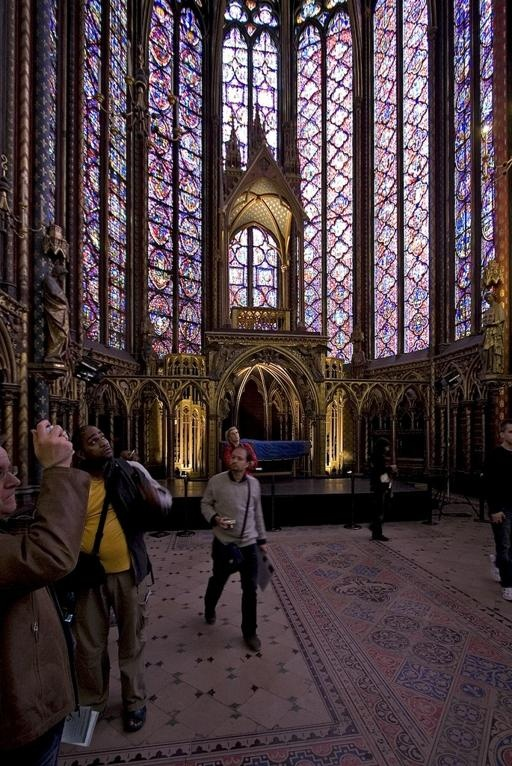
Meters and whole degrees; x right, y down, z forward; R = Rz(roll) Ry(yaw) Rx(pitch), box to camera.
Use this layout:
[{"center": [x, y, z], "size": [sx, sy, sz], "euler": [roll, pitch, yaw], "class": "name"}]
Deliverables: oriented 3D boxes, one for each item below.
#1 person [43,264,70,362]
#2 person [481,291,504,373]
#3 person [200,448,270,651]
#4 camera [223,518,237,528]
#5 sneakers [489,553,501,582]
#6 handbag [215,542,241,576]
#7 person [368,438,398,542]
[{"center": [-2.635, -0.930, 7.978], "size": [0.291, 1.357, 0.604], "euler": [0, 0, -12], "class": "person"}, {"center": [3.952, -0.810, 10.026], "size": [0.331, 1.365, 0.287], "euler": [0, 0, 24], "class": "person"}, {"center": [-0.174, 1.155, 4.417], "size": [0.473, 1.374, 0.523], "euler": [0, 0, 7], "class": "person"}, {"center": [-0.183, 0.972, 4.242], "size": [0.074, 0.054, 0.078], "euler": [-4, -8, 19], "class": "camera"}, {"center": [2.240, 1.746, 5.685], "size": [0.054, 0.214, 0.153], "euler": [-2, 5, 12], "class": "sneakers"}, {"center": [-0.191, 1.273, 4.361], "size": [0.077, 0.225, 0.209], "euler": [-16, 22, -42], "class": "handbag"}, {"center": [1.637, 1.323, 7.750], "size": [0.302, 1.249, 0.894], "euler": [0, 0, 13], "class": "person"}]
